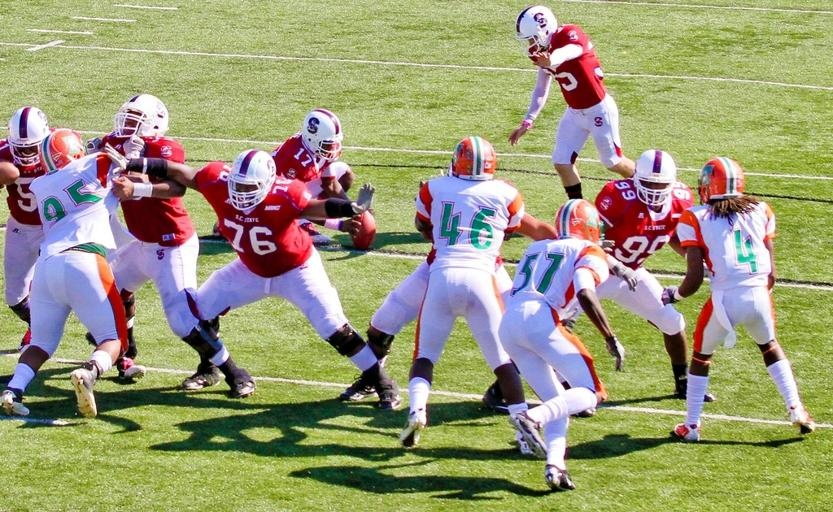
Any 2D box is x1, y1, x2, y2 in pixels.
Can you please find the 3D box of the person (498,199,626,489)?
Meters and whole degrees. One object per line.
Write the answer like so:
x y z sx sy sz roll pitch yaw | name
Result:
1.320 0.786 9.303 1.154 2.477 1.218 4 14 10 | person

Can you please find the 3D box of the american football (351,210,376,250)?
-0.640 -0.336 12.230 0.284 0.436 0.262 4 31 -26 | american football

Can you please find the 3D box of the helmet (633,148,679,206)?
2.363 -0.688 10.124 0.456 0.566 0.602 9 -10 11 | helmet

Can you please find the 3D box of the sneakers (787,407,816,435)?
3.638 1.575 9.662 0.092 0.253 0.174 -39 24 11 | sneakers

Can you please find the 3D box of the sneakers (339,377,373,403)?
-0.607 1.342 10.173 0.429 0.176 0.167 -1 13 -40 | sneakers

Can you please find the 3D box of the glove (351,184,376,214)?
-0.515 -0.552 9.746 0.167 0.291 0.336 4 14 11 | glove

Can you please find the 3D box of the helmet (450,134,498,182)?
0.559 -0.979 9.912 0.373 0.352 0.469 6 23 -7 | helmet

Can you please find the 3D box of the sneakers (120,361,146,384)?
-2.910 1.173 10.316 0.139 0.159 0.346 -11 -1 -41 | sneakers

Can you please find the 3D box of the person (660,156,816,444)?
3.028 0.414 9.779 1.297 2.611 0.957 5 14 12 | person

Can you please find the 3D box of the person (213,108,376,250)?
-1.183 -0.885 11.639 1.650 1.451 0.995 19 24 18 | person

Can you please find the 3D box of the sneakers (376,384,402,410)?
-0.286 1.396 10.077 0.235 0.244 0.555 -1 -5 3 | sneakers

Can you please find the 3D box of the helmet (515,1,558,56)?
1.506 -2.851 12.813 0.642 0.561 0.471 -13 2 -12 | helmet

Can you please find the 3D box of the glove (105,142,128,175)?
-2.922 -0.964 9.832 0.275 0.265 0.111 33 44 2 | glove

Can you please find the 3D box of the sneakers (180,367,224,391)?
-2.153 1.225 10.310 0.430 0.166 0.173 -5 28 -31 | sneakers

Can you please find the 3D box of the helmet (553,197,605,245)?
1.505 -0.334 9.679 0.474 0.419 0.361 -6 6 -28 | helmet

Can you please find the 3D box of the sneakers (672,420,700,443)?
2.571 1.677 9.715 0.147 0.105 0.263 0 7 -10 | sneakers

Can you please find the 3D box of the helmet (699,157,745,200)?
3.009 -0.748 10.003 0.414 0.429 0.484 -2 -1 -4 | helmet

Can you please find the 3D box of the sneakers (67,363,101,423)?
-3.064 1.258 9.447 0.161 0.529 0.285 4 14 9 | sneakers

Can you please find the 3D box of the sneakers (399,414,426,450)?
-0.050 1.608 9.340 0.174 0.403 0.205 19 23 -8 | sneakers

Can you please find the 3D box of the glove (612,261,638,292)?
1.959 0.172 9.600 0.090 0.285 0.217 -37 17 29 | glove

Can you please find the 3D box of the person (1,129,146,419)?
-3.361 0.168 9.751 1.061 2.622 1.482 -3 14 -16 | person

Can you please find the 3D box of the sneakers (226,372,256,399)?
-1.744 1.287 10.109 0.172 0.164 0.378 -3 -4 -18 | sneakers
